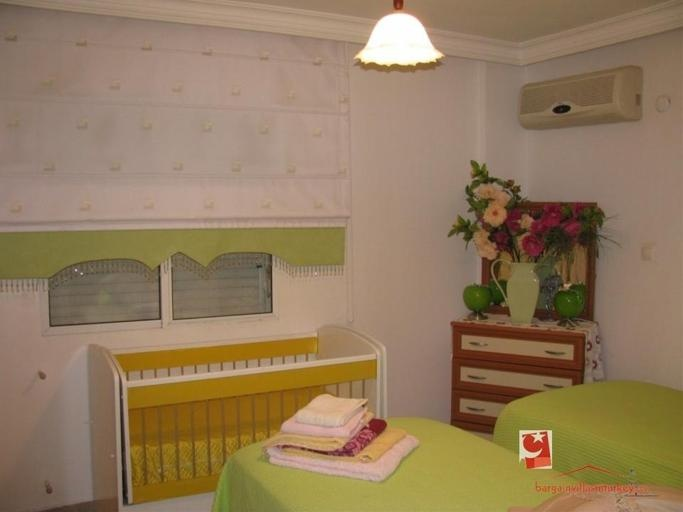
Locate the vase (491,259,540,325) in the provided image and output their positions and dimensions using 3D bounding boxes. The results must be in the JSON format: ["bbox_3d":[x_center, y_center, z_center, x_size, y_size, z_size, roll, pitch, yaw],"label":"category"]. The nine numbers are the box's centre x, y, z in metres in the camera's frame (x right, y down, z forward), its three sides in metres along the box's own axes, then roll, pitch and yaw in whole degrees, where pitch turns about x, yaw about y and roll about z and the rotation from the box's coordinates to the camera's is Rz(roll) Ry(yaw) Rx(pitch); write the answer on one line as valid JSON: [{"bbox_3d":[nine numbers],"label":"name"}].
[{"bbox_3d":[1.365,0.287,4.610,0.410,0.597,0.235,4,8,42],"label":"vase"}]

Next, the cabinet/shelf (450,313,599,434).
[{"bbox_3d":[1.396,0.702,4.721,1.254,1.273,0.696,0,0,27],"label":"cabinet/shelf"}]

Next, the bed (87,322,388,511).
[{"bbox_3d":[-0.878,0.542,3.759,1.873,1.092,1.063,-2,1,-33],"label":"bed"}]

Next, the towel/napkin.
[{"bbox_3d":[-0.017,0.854,2.745,0.394,0.144,0.413,1,1,18],"label":"towel/napkin"}]
